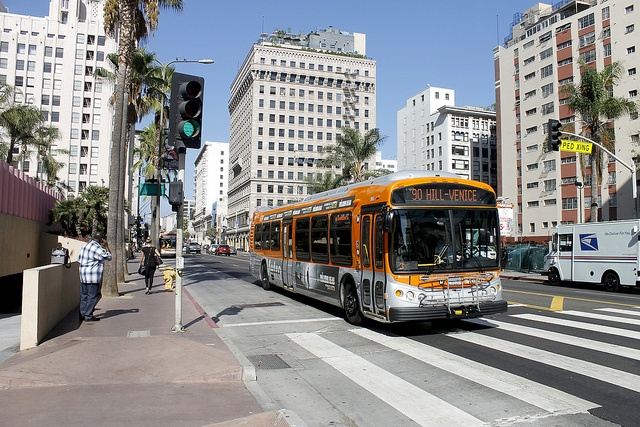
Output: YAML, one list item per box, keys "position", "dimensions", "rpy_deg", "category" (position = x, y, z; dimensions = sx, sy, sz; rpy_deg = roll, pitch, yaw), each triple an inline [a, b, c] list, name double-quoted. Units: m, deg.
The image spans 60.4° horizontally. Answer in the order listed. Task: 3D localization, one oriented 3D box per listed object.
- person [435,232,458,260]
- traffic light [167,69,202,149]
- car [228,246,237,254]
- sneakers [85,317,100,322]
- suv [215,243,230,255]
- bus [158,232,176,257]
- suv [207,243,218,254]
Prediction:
- position: [3.726, 1.031, 16.563]
  dimensions: [0.607, 0.842, 0.259]
  rpy_deg: [-5, 14, -24]
  category: "person"
- position: [-4.008, -3.082, 16.406]
  dimensions: [1.043, 2.203, 0.725]
  rpy_deg: [-2, 13, -13]
  category: "traffic light"
- position: [-12.535, 5.166, 79.672]
  dimensions: [1.318, 1.129, 2.959]
  rpy_deg: [1, -9, -18]
  category: "car"
- position: [-7.499, 3.471, 18.064]
  dimensions: [0.393, 0.168, 0.149]
  rpy_deg: [3, 1, -17]
  category: "sneakers"
- position: [-12.708, 4.930, 72.207]
  dimensions: [1.376, 1.547, 2.795]
  rpy_deg: [-4, 13, -21]
  category: "suv"
- position: [-15.968, 3.253, 57.393]
  dimensions: [2.141, 2.647, 7.620]
  rpy_deg: [0, -5, -18]
  category: "bus"
- position: [-14.984, 4.939, 76.989]
  dimensions: [1.044, 1.051, 2.867]
  rpy_deg: [-1, 2, -25]
  category: "suv"
